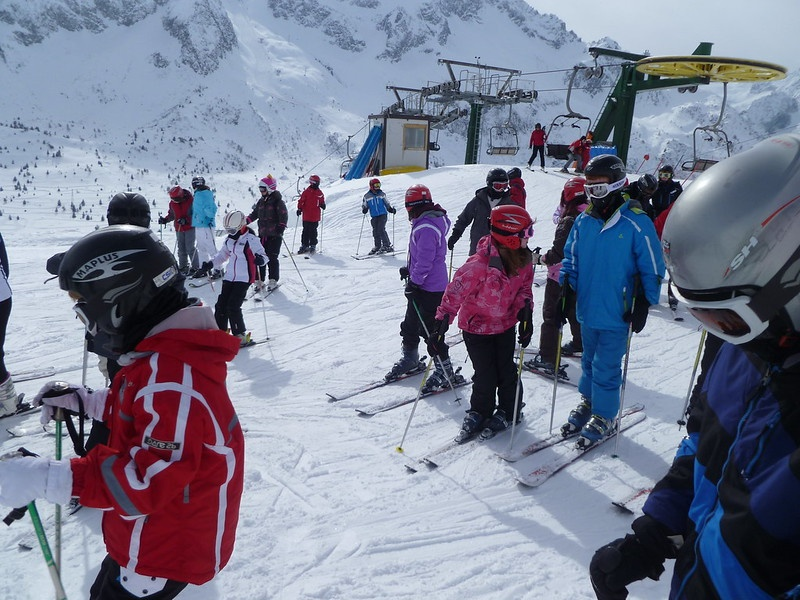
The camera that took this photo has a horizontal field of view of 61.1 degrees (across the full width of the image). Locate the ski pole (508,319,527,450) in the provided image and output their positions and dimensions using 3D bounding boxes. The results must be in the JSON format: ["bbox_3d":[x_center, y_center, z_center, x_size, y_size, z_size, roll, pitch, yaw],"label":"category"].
[{"bbox_3d":[1.033,0.884,6.164,0.131,0.207,1.377,0,22,8],"label":"ski pole"}]

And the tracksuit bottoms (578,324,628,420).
[{"bbox_3d":[1.797,0.513,6.021,0.280,0.921,0.421,-8,25,-22],"label":"tracksuit bottoms"}]

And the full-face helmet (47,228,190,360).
[{"bbox_3d":[-1.414,-0.088,3.507,0.576,0.550,0.455,-19,8,-6],"label":"full-face helmet"}]

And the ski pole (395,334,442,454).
[{"bbox_3d":[0.241,0.837,6.466,0.179,1.295,0.179,30,-26,-13],"label":"ski pole"}]

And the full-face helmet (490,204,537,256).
[{"bbox_3d":[0.963,-0.603,5.833,0.380,0.330,0.334,-4,26,-1],"label":"full-face helmet"}]
